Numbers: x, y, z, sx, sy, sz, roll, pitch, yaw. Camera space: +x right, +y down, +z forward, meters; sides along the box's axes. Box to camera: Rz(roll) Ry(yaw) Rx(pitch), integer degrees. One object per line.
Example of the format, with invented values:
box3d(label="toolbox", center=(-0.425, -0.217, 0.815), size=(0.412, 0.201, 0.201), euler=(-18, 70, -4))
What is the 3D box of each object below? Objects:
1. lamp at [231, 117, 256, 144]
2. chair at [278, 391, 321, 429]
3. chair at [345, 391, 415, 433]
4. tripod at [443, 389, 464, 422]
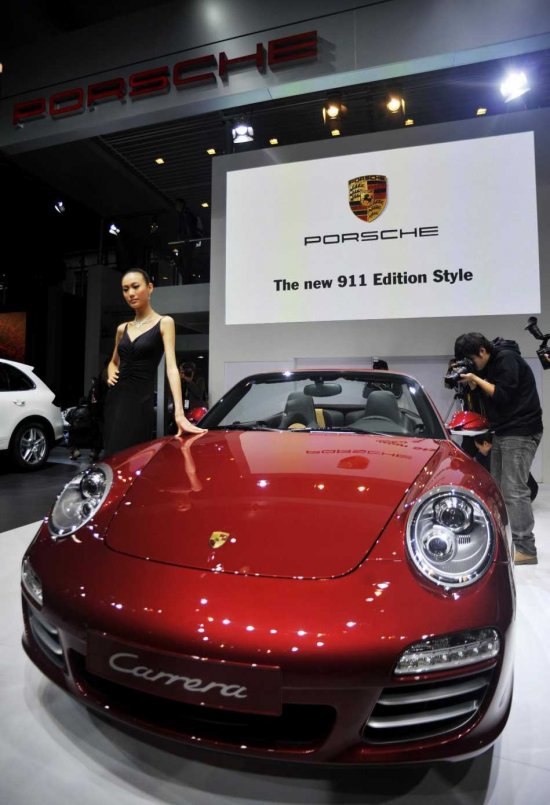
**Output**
box3d(label="lamp", center=(-0.318, -2.812, 5.712), size=(0.190, 0.245, 0.283), euler=(-1, 4, -12))
box3d(label="chair", center=(0.094, 0.042, 2.041), size=(0.108, 0.160, 0.135), euler=(0, -28, 7))
box3d(label="chair", center=(0.371, 0.033, 1.928), size=(0.117, 0.124, 0.207), euler=(1, -7, 13))
box3d(label="tripod", center=(1.260, 0.012, 3.953), size=(0.110, 0.230, 0.140), euler=(13, -2, 28))
